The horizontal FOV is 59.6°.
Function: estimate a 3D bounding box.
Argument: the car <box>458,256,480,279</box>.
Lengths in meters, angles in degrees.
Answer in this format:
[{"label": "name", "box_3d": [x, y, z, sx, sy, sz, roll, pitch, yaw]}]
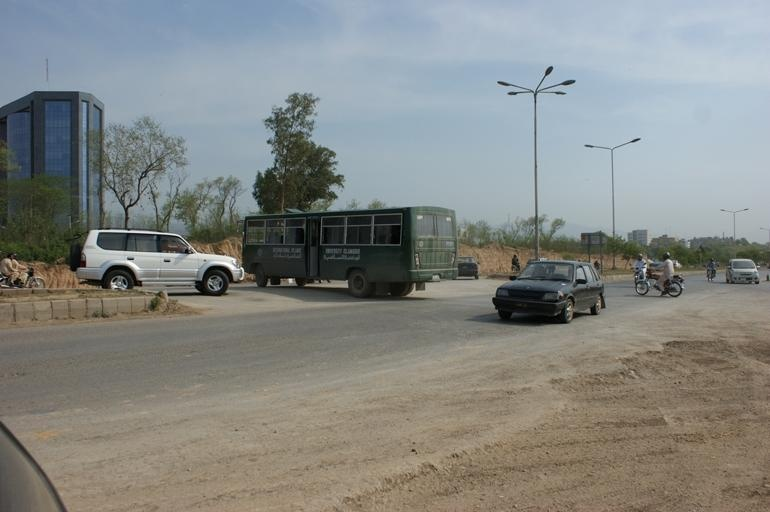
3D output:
[{"label": "car", "box_3d": [5.310, 0.773, 42.275, 1.272, 1.294, 1.611, 1, 7, 5]}]

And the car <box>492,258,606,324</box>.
[{"label": "car", "box_3d": [4.526, 0.922, 17.770, 1.572, 1.043, 2.640, -1, -5, 37]}]

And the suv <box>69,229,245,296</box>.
[{"label": "suv", "box_3d": [-7.741, 0.156, 22.667, 5.093, 2.164, 2.416, -1, 2, -33]}]

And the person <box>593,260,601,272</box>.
[{"label": "person", "box_3d": [13.612, 0.584, 42.877, 0.477, 0.919, 0.238, 3, 5, -21]}]

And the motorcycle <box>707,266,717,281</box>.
[{"label": "motorcycle", "box_3d": [23.028, 1.207, 47.193, 0.805, 0.990, 1.613, 2, 5, 25]}]

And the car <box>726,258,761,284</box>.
[{"label": "car", "box_3d": [21.258, 0.886, 39.900, 1.358, 1.126, 2.439, -3, -9, 20]}]

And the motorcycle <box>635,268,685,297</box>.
[{"label": "motorcycle", "box_3d": [11.049, 1.082, 27.084, 1.861, 1.181, 0.977, 4, 4, 29]}]
